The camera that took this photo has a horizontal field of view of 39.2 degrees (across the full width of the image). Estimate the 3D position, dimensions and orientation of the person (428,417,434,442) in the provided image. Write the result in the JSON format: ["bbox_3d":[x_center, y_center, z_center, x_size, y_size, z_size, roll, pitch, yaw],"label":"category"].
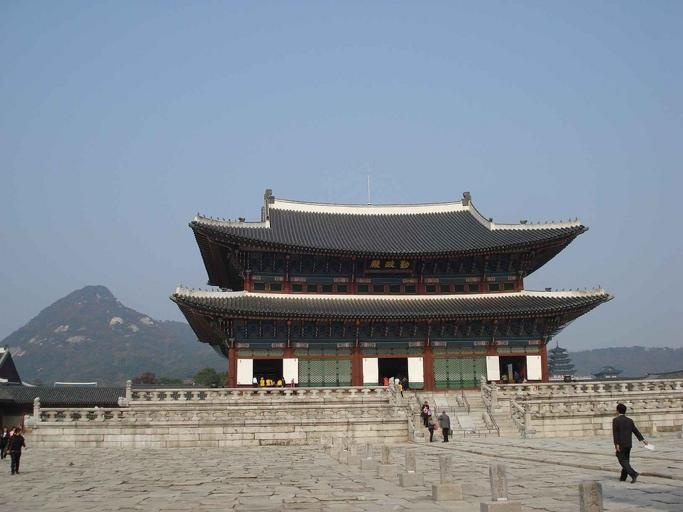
[{"bbox_3d":[4.885,9.450,52.540,0.363,1.216,1.166,4,6,5],"label":"person"}]
